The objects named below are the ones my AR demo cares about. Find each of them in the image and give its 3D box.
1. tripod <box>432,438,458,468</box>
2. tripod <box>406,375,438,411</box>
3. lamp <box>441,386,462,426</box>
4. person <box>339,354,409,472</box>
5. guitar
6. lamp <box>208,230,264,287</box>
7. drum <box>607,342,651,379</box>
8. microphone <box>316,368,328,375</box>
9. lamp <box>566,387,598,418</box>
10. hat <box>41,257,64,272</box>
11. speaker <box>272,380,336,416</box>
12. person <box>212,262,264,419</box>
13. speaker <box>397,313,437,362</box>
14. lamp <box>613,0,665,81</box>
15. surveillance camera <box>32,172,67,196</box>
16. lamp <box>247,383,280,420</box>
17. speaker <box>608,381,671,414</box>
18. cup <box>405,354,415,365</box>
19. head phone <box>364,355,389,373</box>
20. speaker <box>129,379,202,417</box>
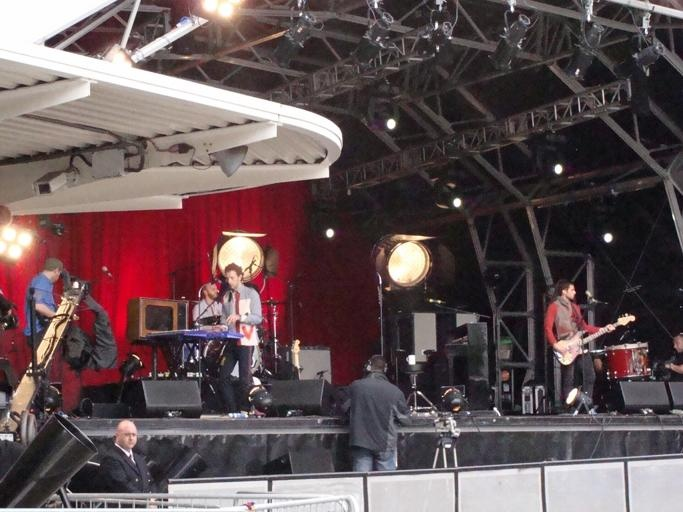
[{"bbox_3d":[1.226,2.337,11.004,0.305,0.321,0.508,-2,-12,7],"label":"tripod"},{"bbox_3d":[1.113,1.980,13.133,0.452,0.573,0.482,1,-12,-5],"label":"tripod"},{"bbox_3d":[1.360,1.833,11.458,0.196,0.234,0.361,3,26,-3],"label":"lamp"},{"bbox_3d":[0.431,1.783,10.678,0.666,1.343,0.693,2,-11,-13],"label":"person"},{"bbox_3d":[3.560,1.190,13.022,0.518,0.798,1.675,-10,-16,39],"label":"guitar"},{"bbox_3d":[-1.542,-0.006,13.959,0.619,0.867,0.265,16,-4,-25],"label":"lamp"},{"bbox_3d":[4.137,1.570,13.329,0.498,0.441,0.526,-8,-12,29],"label":"drum"},{"bbox_3d":[-0.297,1.882,14.850,0.165,0.068,0.089,-24,-20,-28],"label":"microphone"},{"bbox_3d":[3.224,2.003,12.615,0.433,0.529,0.374,-2,-9,9],"label":"lamp"},{"bbox_3d":[-3.672,0.118,11.830,0.128,0.173,0.158,13,24,39],"label":"hat"},{"bbox_3d":[-0.490,1.740,11.388,0.722,0.422,0.253,1,-11,-7],"label":"speaker"},{"bbox_3d":[-1.250,1.003,11.582,0.533,1.911,0.678,1,-11,-6],"label":"person"},{"bbox_3d":[1.160,1.230,14.049,0.607,0.761,0.411,-2,-11,5],"label":"speaker"},{"bbox_3d":[3.946,-2.928,12.391,0.634,0.960,1.757,-5,-13,20],"label":"lamp"},{"bbox_3d":[-2.698,-0.674,8.602,0.131,0.149,0.254,11,29,27],"label":"surveillance camera"},{"bbox_3d":[-0.927,1.755,11.277,0.394,0.375,0.373,4,-13,-20],"label":"lamp"},{"bbox_3d":[4.091,1.998,12.774,0.573,0.380,0.489,3,-24,-17],"label":"speaker"},{"bbox_3d":[1.015,1.508,13.337,0.081,0.131,0.125,7,-9,-38],"label":"cup"},{"bbox_3d":[0.429,1.302,11.125,0.225,0.287,0.277,4,-23,0],"label":"head phone"},{"bbox_3d":[-1.895,1.588,10.312,0.592,0.522,0.394,8,1,-17],"label":"speaker"}]
